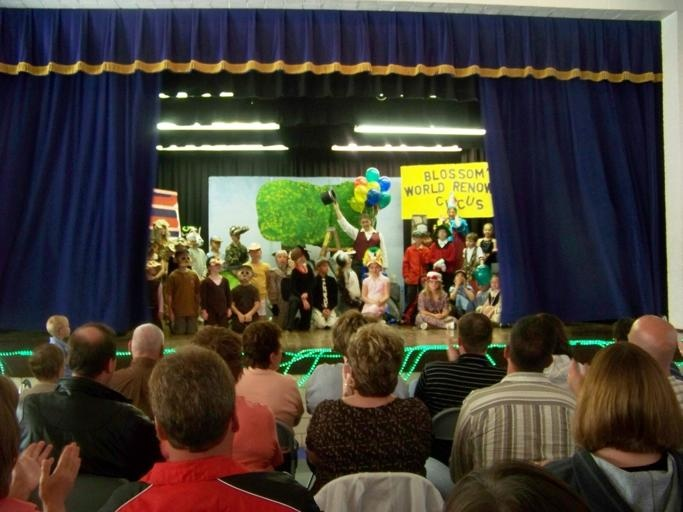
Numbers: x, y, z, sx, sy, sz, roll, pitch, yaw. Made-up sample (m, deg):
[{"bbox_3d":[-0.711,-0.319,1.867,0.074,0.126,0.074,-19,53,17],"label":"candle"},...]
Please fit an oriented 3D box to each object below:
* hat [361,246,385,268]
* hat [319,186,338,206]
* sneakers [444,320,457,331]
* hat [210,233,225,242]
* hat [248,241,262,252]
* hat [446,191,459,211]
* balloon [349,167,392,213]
[{"bbox_3d":[0.433,-0.004,8.059,0.204,0.249,0.304,1,-7,-2],"label":"hat"},{"bbox_3d":[-0.208,-0.882,8.903,0.228,0.327,0.308,-9,16,16],"label":"hat"},{"bbox_3d":[1.261,0.806,7.038,0.081,0.057,0.115,-5,16,27],"label":"sneakers"},{"bbox_3d":[-1.904,-0.279,9.131,0.199,0.092,0.324,2,0,-27],"label":"hat"},{"bbox_3d":[-1.245,-0.131,8.524,0.164,0.072,0.227,-1,-4,-10],"label":"hat"},{"bbox_3d":[1.603,-0.797,8.751,0.136,0.334,0.143,9,-29,-9],"label":"hat"},{"bbox_3d":[0.432,-0.926,9.205,0.636,0.841,0.606,1,23,1],"label":"balloon"}]
